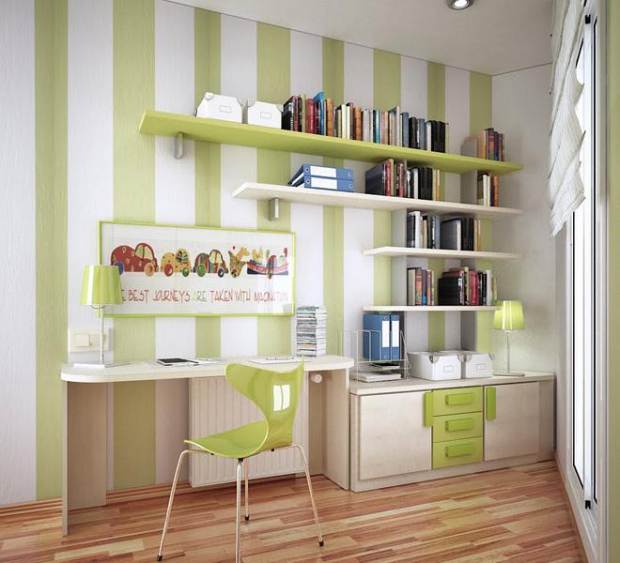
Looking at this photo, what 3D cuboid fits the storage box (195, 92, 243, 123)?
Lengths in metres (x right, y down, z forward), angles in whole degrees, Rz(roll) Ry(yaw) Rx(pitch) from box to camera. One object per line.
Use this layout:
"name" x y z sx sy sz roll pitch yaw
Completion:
"storage box" -0.509 -0.980 3.418 0.253 0.166 0.109 -1 4 -13

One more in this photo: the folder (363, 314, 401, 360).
"folder" 0.445 0.342 3.923 0.247 0.397 0.267 0 -1 -23

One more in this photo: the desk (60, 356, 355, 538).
"desk" -0.519 0.853 3.341 1.584 0.896 0.518 0 5 -27

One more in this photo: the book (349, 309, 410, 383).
"book" 0.455 0.381 3.916 0.411 0.641 0.373 1 -1 -23

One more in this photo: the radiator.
"radiator" -0.364 0.849 3.628 0.730 0.103 0.890 6 29 -12

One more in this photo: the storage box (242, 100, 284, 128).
"storage box" -0.268 -0.971 3.530 0.161 0.114 0.170 0 4 -6

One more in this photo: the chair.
"chair" -0.409 0.937 3.129 0.632 1.240 0.759 -1 -3 40

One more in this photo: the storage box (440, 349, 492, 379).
"storage box" 1.080 0.539 3.986 0.163 0.128 0.228 -1 1 -11

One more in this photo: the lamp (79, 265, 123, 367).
"lamp" -1.114 0.180 3.252 0.211 0.541 0.291 -1 4 -20
